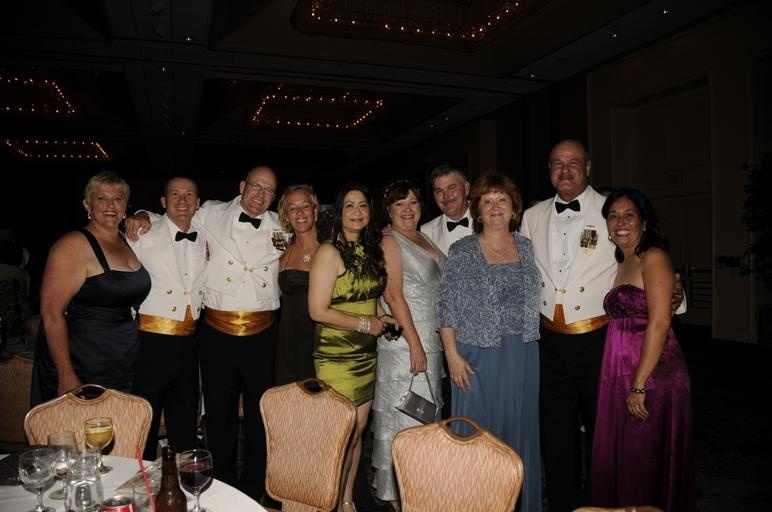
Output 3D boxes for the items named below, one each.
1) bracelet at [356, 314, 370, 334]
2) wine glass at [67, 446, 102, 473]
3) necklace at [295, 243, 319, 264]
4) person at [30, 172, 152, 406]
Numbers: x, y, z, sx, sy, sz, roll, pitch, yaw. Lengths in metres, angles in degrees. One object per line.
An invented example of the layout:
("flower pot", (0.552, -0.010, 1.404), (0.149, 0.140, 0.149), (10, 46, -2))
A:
("bracelet", (-0.209, 0.649, 5.511), (0.047, 0.144, 0.121), (2, -12, 14))
("wine glass", (-2.221, 1.513, 4.342), (0.163, 0.142, 0.179), (1, -7, -6))
("necklace", (-0.774, -0.014, 5.885), (0.141, 0.230, 0.062), (9, -16, 12))
("person", (-2.760, 0.243, 5.634), (0.918, 2.123, 0.279), (3, -6, -30))
